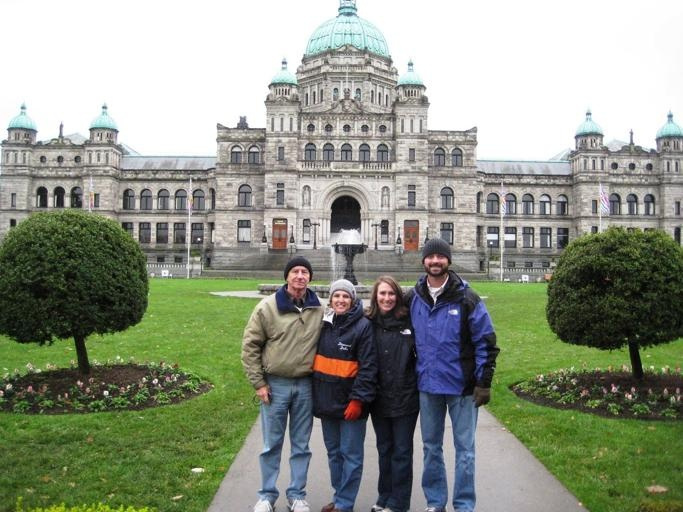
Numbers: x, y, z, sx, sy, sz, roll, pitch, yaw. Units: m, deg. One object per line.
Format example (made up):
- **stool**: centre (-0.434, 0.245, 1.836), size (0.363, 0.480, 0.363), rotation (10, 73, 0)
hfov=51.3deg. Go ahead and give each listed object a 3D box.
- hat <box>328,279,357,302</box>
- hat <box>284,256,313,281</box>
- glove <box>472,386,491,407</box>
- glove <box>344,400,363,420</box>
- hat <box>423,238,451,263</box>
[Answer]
- **hat**: centre (0.041, 0.480, 10.742), size (0.348, 0.291, 0.263), rotation (0, -4, 8)
- **hat**: centre (-0.645, 0.160, 10.858), size (0.343, 0.354, 0.382), rotation (3, -13, -7)
- **glove**: centre (2.076, 2.070, 10.480), size (0.223, 0.178, 0.298), rotation (-1, -9, 2)
- **glove**: centre (0.177, 2.253, 10.446), size (0.258, 0.333, 0.146), rotation (1, 11, 3)
- **hat**: centre (1.438, -0.112, 10.623), size (0.372, 0.318, 0.381), rotation (2, -7, 3)
